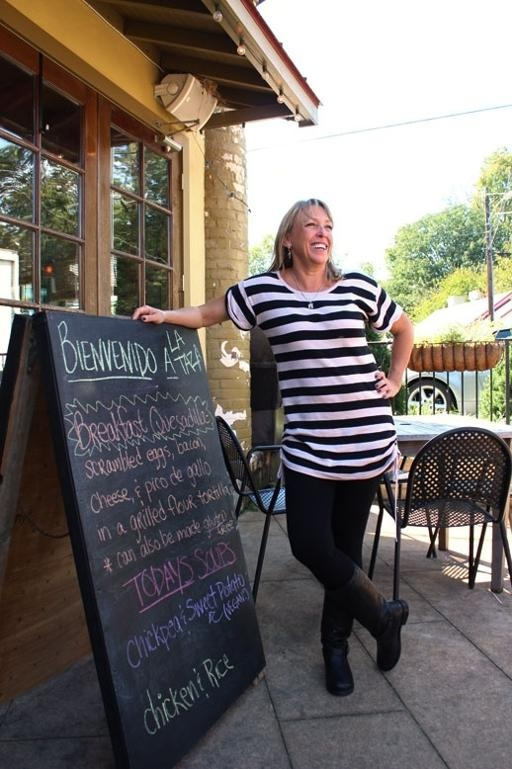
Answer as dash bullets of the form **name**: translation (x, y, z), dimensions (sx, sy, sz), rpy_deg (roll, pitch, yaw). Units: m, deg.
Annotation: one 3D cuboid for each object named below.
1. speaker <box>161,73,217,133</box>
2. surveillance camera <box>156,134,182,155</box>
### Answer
- **speaker**: translation (-0.441, -1.903, 3.911), dimensions (0.152, 0.220, 0.378), rpy_deg (43, 21, 16)
- **surveillance camera**: translation (-0.611, -1.689, 4.091), dimensions (0.100, 0.073, 0.146), rpy_deg (29, 17, 11)
